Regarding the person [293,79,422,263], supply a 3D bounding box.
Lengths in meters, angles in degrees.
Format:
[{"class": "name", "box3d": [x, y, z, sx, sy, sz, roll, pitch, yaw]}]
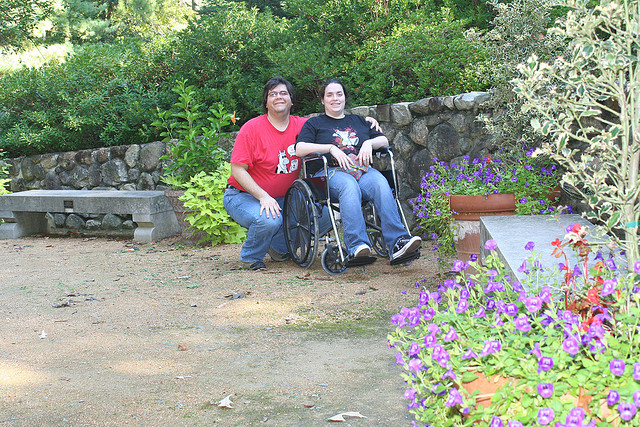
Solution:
[{"class": "person", "box3d": [0.329, -0.350, 4.729, 0.797, 1.653, 1.084, -8, 13, -26]}]

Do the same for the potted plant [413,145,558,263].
[{"class": "potted plant", "box3d": [1.390, -0.006, 4.643, 1.001, 0.772, 1.133, -2, 4, 8]}]

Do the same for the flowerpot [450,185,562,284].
[{"class": "flowerpot", "box3d": [1.456, 0.178, 4.475, 0.941, 0.636, 0.897, -1, 1, -3]}]

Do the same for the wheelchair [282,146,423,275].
[{"class": "wheelchair", "box3d": [0.195, -0.013, 4.918, 1.216, 1.175, 0.969, 1, 12, 11]}]

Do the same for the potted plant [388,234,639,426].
[{"class": "potted plant", "box3d": [0.996, 0.471, 2.374, 0.908, 0.451, 1.078, 6, 15, 37]}]

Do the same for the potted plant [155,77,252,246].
[{"class": "potted plant", "box3d": [-1.518, -0.512, 6.644, 1.009, 1.768, 0.804, 1, 10, -28]}]
